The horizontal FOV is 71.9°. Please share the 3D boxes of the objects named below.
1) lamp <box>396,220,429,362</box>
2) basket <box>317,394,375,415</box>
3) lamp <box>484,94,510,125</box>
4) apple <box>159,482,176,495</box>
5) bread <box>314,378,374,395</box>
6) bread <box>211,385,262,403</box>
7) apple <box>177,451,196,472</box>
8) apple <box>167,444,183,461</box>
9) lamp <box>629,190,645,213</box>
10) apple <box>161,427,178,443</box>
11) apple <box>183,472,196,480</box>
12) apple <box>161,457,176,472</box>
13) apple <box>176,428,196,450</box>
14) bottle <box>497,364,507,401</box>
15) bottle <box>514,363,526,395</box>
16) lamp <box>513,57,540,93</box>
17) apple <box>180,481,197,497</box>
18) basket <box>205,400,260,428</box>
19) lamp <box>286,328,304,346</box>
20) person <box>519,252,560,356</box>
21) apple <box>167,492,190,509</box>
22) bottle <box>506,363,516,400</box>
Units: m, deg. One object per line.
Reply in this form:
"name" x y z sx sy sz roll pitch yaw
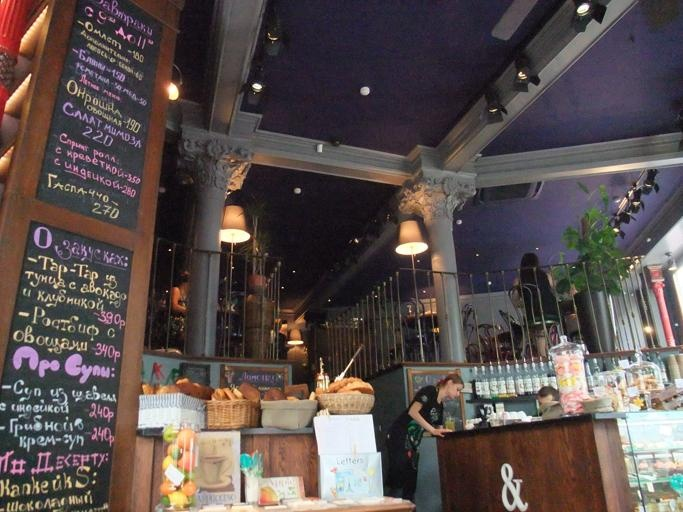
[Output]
"lamp" 1.391 0.698 8.310 0.548 2.717 0.611 1 -15 -9
"basket" 0.025 1.026 3.252 0.212 0.089 0.230 -6 -31 5
"lamp" 2.404 -2.259 7.325 0.333 0.430 0.392 -1 -2 -3
"apple" -0.953 1.260 2.543 0.122 0.072 0.043 -20 -26 36
"bread" 0.062 0.937 3.355 0.244 0.082 0.240 5 -17 -22
"bread" -0.740 0.964 3.267 0.225 0.093 0.172 13 -21 -42
"apple" -0.863 1.127 2.599 0.077 0.086 0.102 19 -5 -25
"apple" -0.919 1.082 2.578 0.071 0.094 0.076 0 7 7
"lamp" 6.542 -1.230 10.431 0.335 0.377 0.383 -4 -14 19
"apple" -0.959 0.999 2.628 0.090 0.086 0.032 -17 -24 31
"apple" -0.833 1.219 2.591 0.037 0.054 0.099 -6 -21 7
"apple" -0.964 1.135 2.616 0.081 0.108 0.083 2 1 -25
"apple" -0.863 1.018 2.595 0.090 0.116 0.094 4 5 29
"bottle" 2.393 1.858 7.045 0.121 0.504 0.229 -9 -21 17
"bottle" 2.653 1.842 7.029 0.131 0.468 0.236 -10 -21 19
"lamp" 2.640 -2.607 6.728 0.273 0.484 0.313 -23 -56 35
"apple" -0.825 1.255 2.528 0.064 0.095 0.067 1 -7 -15
"basket" -0.735 1.075 3.179 0.363 0.189 0.203 2 -21 -14
"lamp" -1.509 2.690 15.480 0.543 0.633 0.559 13 -21 -42
"person" 3.353 0.827 7.954 0.541 1.809 0.810 -11 -21 22
"apple" -0.872 1.305 2.504 0.104 0.091 0.044 -5 -20 3
"bottle" 2.519 1.864 7.032 0.134 0.489 0.267 -9 -21 17
